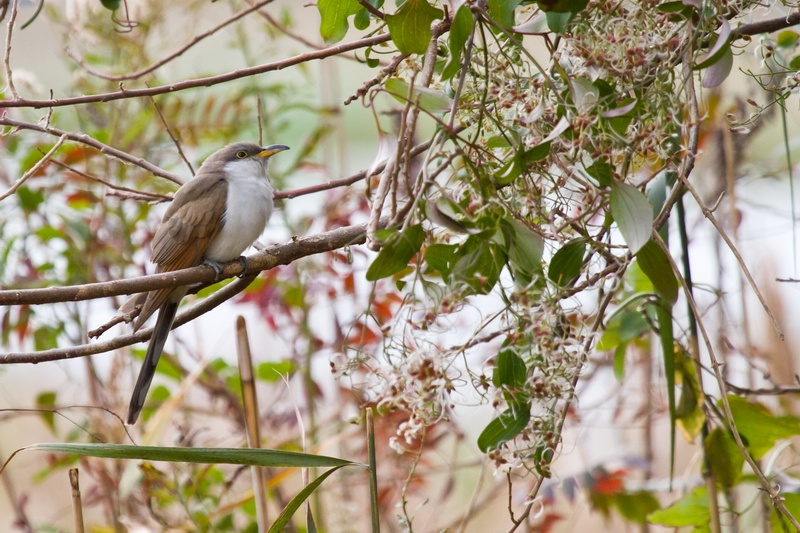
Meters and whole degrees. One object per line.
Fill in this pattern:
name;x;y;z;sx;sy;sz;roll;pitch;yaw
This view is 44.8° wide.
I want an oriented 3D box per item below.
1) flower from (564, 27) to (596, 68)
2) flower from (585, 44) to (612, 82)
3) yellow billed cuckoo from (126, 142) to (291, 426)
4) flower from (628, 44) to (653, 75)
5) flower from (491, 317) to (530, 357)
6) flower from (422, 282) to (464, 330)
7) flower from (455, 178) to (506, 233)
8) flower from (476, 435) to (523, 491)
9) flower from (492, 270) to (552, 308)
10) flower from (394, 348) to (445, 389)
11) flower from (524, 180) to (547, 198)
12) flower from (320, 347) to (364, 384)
flower;0.487;-0.590;2.648;0.040;0.109;0.082;-27;-12;31
flower;0.527;-0.542;2.606;0.068;0.029;0.090;-7;-77;45
yellow billed cuckoo;-0.665;-0.035;3.405;0.525;1.293;0.441;-1;-46;-6
flower;0.634;-0.541;2.586;0.069;0.029;0.077;-24;-87;-3
flower;0.290;0.183;2.562;0.041;0.088;0.091;9;-89;-1
flower;0.106;0.091;2.541;0.035;0.099;0.123;13;-30;-32
flower;0.208;-0.145;2.554;0.151;0.071;0.121;-38;-21;-1
flower;0.284;0.522;2.661;0.129;0.050;0.137;19;-77;9
flower;0.329;0.048;2.572;0.100;0.107;0.032;-19;-20;31
flower;0.056;0.265;2.536;0.083;0.060;0.111;-9;-3;-1
flower;0.367;-0.215;2.646;0.044;0.045;0.045;7;-73;21
flower;-0.192;0.317;3.151;0.132;0.142;0.236;-1;-6;6
